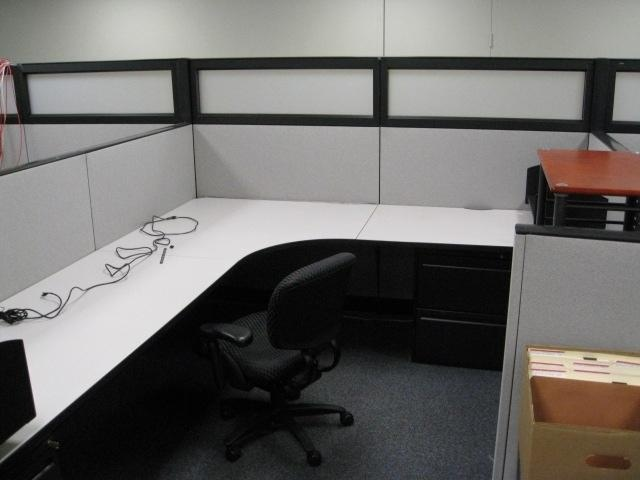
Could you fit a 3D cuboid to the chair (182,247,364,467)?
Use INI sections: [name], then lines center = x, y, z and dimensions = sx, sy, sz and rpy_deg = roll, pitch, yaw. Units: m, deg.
[chair]
center = -0.175, 0.475, 2.229
dimensions = 0.663, 0.910, 0.652
rpy_deg = -10, 18, -37
